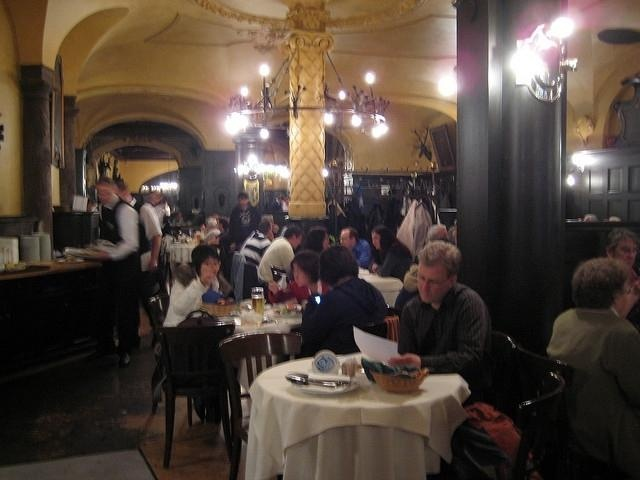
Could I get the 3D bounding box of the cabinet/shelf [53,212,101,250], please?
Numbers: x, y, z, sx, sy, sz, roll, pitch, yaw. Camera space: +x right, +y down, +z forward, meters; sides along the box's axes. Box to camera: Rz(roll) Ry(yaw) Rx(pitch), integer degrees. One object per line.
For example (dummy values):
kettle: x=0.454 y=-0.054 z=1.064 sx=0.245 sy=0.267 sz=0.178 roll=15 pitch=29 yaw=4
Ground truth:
cabinet/shelf: x=-3.900 y=-0.191 z=8.279 sx=0.561 sy=0.750 sz=0.754 roll=-1 pitch=5 yaw=-10

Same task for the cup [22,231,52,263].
cup: x=-3.379 y=0.095 z=6.085 sx=0.336 sy=0.322 sz=0.169 roll=-7 pitch=13 yaw=-39

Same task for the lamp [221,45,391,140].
lamp: x=-0.201 y=-2.282 z=8.104 sx=2.334 sy=1.248 sz=2.416 roll=4 pitch=8 yaw=3

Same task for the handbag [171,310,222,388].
handbag: x=-0.999 y=0.852 z=4.348 sx=0.457 sy=0.821 sz=0.553 roll=-2 pitch=22 yaw=-14
